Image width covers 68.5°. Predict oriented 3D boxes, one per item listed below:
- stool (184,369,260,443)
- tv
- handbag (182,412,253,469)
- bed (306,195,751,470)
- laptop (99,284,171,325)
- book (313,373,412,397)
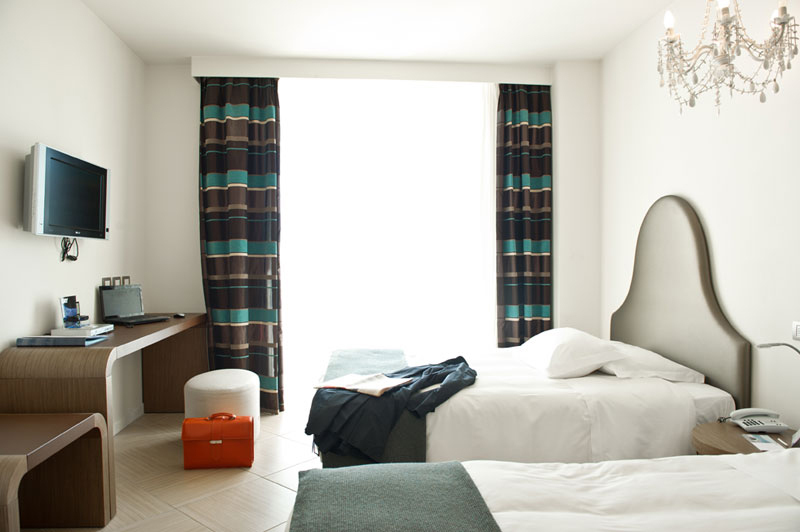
[{"bbox_3d":[-1.494,1.057,4.906,0.599,0.473,0.571,-2,13,-24],"label":"stool"},{"bbox_3d":[-2.607,-0.519,4.508,0.281,0.613,0.820,1,-2,8],"label":"tv"},{"bbox_3d":[-1.400,1.353,4.509,0.440,0.312,0.155,0,-2,-4],"label":"handbag"},{"bbox_3d":[1.189,0.500,4.683,2.305,1.432,2.094,-3,6,-1],"label":"bed"},{"bbox_3d":[-2.256,0.332,5.023,0.345,0.280,0.461,4,2,18],"label":"laptop"},{"bbox_3d":[-0.242,0.826,4.204,0.623,0.074,0.397,5,13,19],"label":"book"}]
